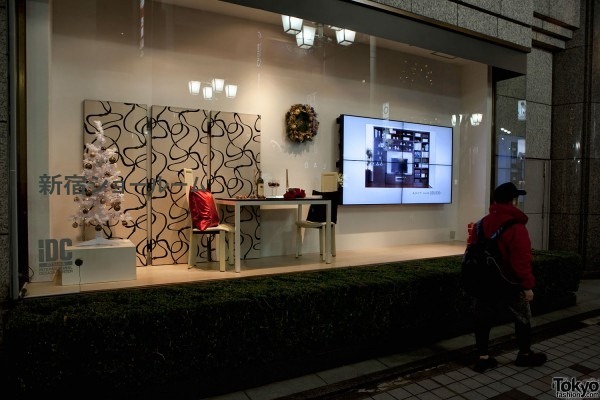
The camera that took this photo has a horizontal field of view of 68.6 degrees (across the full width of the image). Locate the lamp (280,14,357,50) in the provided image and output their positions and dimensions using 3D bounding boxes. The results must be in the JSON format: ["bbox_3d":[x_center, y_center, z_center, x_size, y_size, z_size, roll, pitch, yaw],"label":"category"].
[{"bbox_3d":[0.153,-1.908,4.923,0.836,0.307,0.834,4,20,-26],"label":"lamp"}]

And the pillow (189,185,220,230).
[{"bbox_3d":[-1.014,0.063,4.616,0.192,0.369,0.360,-12,-17,2],"label":"pillow"}]

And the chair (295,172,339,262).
[{"bbox_3d":[0.226,0.253,5.103,0.449,0.747,0.406,-14,-8,19],"label":"chair"}]

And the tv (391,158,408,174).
[{"bbox_3d":[1.170,-0.410,5.188,0.183,0.157,0.065,1,4,-19],"label":"tv"}]

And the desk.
[{"bbox_3d":[-0.224,0.524,4.855,1.350,0.857,0.751,1,-3,-26],"label":"desk"}]

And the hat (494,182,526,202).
[{"bbox_3d":[2.051,-0.072,4.258,0.300,0.157,0.194,-20,17,-16],"label":"hat"}]

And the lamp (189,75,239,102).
[{"bbox_3d":[-0.856,-1.103,4.369,0.492,0.209,0.049,-5,12,-30],"label":"lamp"}]

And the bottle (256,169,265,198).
[{"bbox_3d":[-0.422,-0.174,4.730,0.076,0.298,0.059,1,11,-4],"label":"bottle"}]
